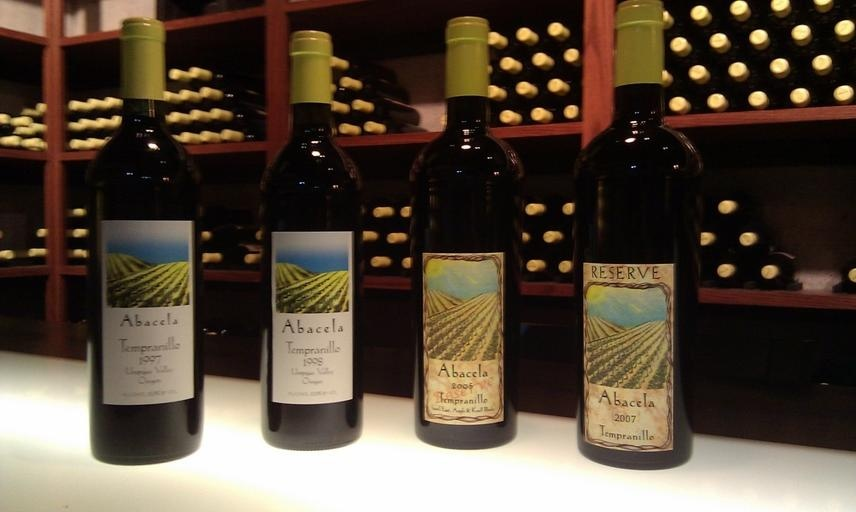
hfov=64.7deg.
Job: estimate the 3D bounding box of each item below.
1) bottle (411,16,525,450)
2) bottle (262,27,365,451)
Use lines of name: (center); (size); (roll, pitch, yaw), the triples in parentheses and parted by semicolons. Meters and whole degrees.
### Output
bottle: (0.077, -0.042, 1.331); (0.218, 0.841, 0.084); (0, 5, -2)
bottle: (-0.226, -0.030, 1.328); (0.199, 0.805, 0.128); (1, 5, 7)
